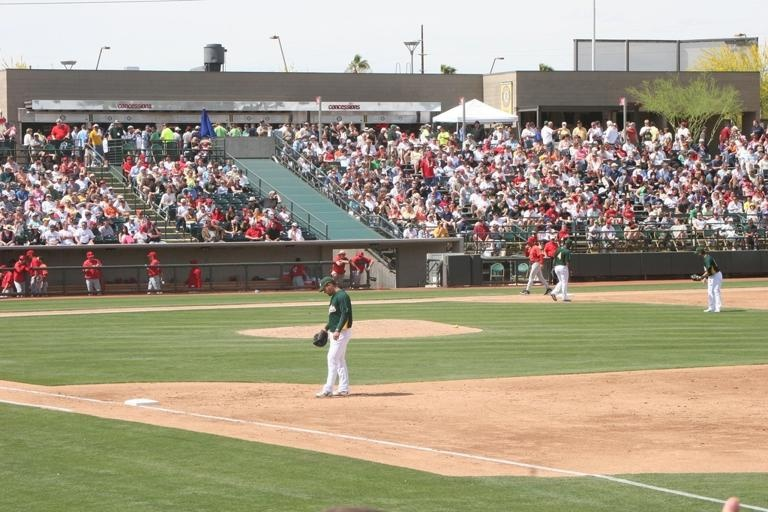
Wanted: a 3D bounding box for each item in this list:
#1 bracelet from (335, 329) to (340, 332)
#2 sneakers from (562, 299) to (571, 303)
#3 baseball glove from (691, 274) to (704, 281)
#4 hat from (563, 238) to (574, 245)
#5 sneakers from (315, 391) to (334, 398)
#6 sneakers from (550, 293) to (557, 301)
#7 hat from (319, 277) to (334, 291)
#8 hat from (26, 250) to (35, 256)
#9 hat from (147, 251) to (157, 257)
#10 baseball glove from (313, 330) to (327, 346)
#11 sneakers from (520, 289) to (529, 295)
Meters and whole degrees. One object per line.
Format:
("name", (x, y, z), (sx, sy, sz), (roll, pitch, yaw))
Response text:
("bracelet", (-1.490, 2.401, 57.494), (0.091, 0.072, 0.082), (1, 3, 3))
("sneakers", (7.421, 1.889, 74.221), (0.308, 0.119, 0.472), (0, 0, 9))
("baseball glove", (12.657, 0.932, 73.780), (0.446, 0.170, 0.293), (2, 3, -16))
("hat", (8.174, -0.584, 81.075), (0.308, 0.232, 0.460), (7, 8, 13))
("sneakers", (-1.884, 4.493, 57.857), (0.592, 0.195, 0.199), (2, 3, 7))
("sneakers", (6.912, 1.774, 74.518), (0.216, 0.392, 0.139), (-28, 3, 0))
("hat", (-1.902, 0.951, 57.774), (0.503, 0.254, 0.361), (-22, 10, 36))
("hat", (-14.917, -0.086, 76.754), (0.319, 0.320, 0.298), (0, 1, -16))
("hat", (-9.971, -0.035, 77.853), (0.314, 0.114, 0.227), (7, 7, 24))
("baseball glove", (-2.015, 2.695, 57.787), (0.457, 0.505, 0.206), (31, -20, 5))
("sneakers", (5.949, 1.604, 77.341), (0.258, 0.253, 0.690), (6, 0, -8))
